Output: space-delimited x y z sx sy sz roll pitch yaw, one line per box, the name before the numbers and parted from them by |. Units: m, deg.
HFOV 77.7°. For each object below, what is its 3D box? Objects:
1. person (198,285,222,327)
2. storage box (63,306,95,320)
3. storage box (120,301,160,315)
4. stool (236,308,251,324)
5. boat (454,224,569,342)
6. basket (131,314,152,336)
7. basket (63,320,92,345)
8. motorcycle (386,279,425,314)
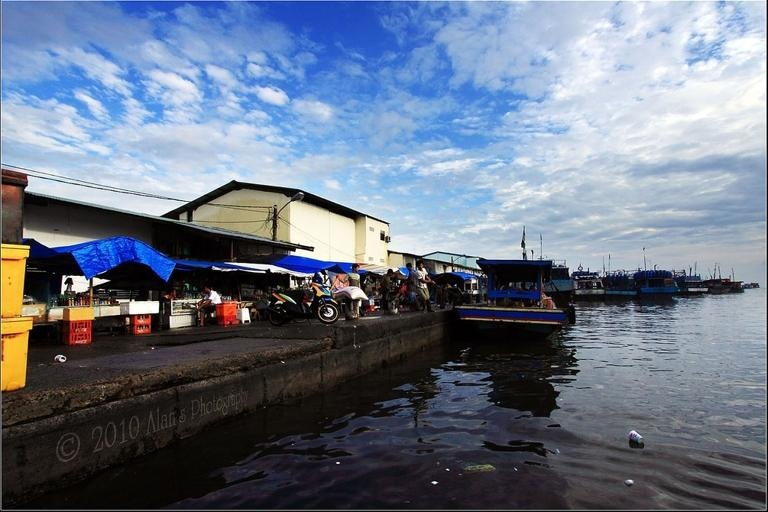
person | -5.745 1.702 15.709 0.719 1.089 1.165 -3 9 -16
storage box | -7.618 1.392 11.787 0.446 0.234 0.431 -3 -7 32
storage box | -7.120 1.522 13.817 0.413 0.415 1.337 -10 -8 22
stool | -4.749 2.057 16.472 0.560 0.593 0.472 3 -10 -8
boat | 5.972 2.173 22.625 3.662 3.514 9.318 -1 -7 15
basket | -6.906 1.950 13.566 0.739 0.687 0.440 0 -1 -21
basket | -7.502 1.866 11.631 0.322 0.467 0.548 -10 -12 31
motorcycle | 0.854 1.801 20.020 1.091 1.076 2.014 -4 -19 0
